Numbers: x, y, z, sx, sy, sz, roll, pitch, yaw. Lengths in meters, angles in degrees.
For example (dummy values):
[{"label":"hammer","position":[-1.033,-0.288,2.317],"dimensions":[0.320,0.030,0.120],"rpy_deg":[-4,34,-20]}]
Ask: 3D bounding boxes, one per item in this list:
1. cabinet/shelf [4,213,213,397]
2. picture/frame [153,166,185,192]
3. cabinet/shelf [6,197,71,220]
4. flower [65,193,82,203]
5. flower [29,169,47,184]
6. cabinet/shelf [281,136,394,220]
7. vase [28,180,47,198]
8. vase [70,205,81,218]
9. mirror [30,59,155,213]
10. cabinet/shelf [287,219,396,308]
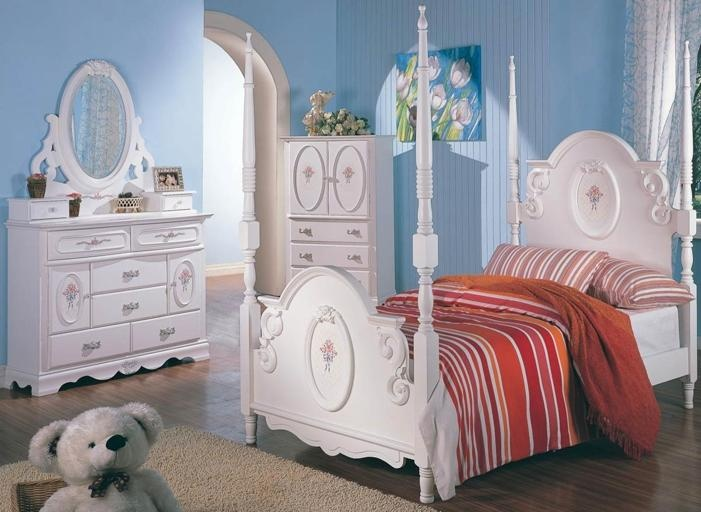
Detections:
[{"label":"cabinet/shelf","position":[-1.916,0.381,4.962],"dimensions":[0.499,1.122,1.286],"rpy_deg":[0,1,42]},{"label":"picture/frame","position":[-1.562,-0.651,5.571],"dimensions":[0.258,0.206,0.175],"rpy_deg":[-5,10,-30]},{"label":"cabinet/shelf","position":[-2.323,-0.342,4.813],"dimensions":[0.412,0.158,0.213],"rpy_deg":[-4,10,-22]},{"label":"flower","position":[-2.163,-0.453,5.043],"dimensions":[0.082,0.041,0.084],"rpy_deg":[-1,-3,0]},{"label":"flower","position":[-2.362,-0.596,4.898],"dimensions":[0.110,0.056,0.112],"rpy_deg":[-2,2,-16]},{"label":"cabinet/shelf","position":[-0.115,-0.797,6.652],"dimensions":[0.810,0.814,0.403],"rpy_deg":[1,1,23]},{"label":"vase","position":[-2.354,-0.498,4.853],"dimensions":[0.122,0.100,0.123],"rpy_deg":[-2,-2,11]},{"label":"vase","position":[-2.142,-0.351,5.032],"dimensions":[0.082,0.066,0.070],"rpy_deg":[0,1,27]},{"label":"mirror","position":[-2.105,-0.943,5.185],"dimensions":[0.087,1.444,1.244],"rpy_deg":[3,4,40]},{"label":"cabinet/shelf","position":[-0.051,-0.019,7.025],"dimensions":[1.250,1.230,0.764],"rpy_deg":[0,0,20]}]
